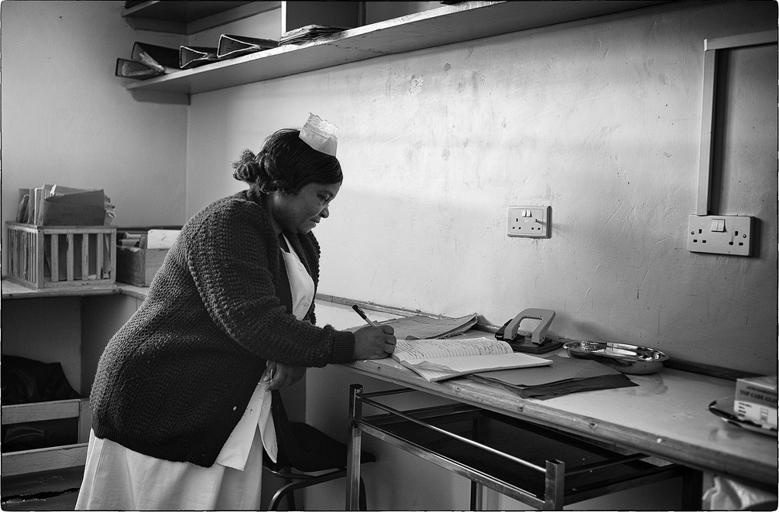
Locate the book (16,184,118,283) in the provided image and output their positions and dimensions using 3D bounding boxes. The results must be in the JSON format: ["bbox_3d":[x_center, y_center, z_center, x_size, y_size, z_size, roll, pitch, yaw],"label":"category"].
[{"bbox_3d":[-1.900,-0.130,3.357,0.581,0.548,0.563,0,2,-37],"label":"book"}]

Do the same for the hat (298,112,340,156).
[{"bbox_3d":[-0.217,-0.394,1.870,0.152,0.116,0.041,16,-45,-35],"label":"hat"}]

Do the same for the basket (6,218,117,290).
[{"bbox_3d":[-1.901,-0.017,3.297,0.455,0.269,0.448,0,4,-32],"label":"basket"}]

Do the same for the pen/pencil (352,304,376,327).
[{"bbox_3d":[-0.111,0.261,2.478,0.027,0.023,0.156,2,-36,32],"label":"pen/pencil"}]

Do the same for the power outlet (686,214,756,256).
[{"bbox_3d":[1.077,-0.071,1.832,0.142,0.093,0.041,3,4,42],"label":"power outlet"}]
